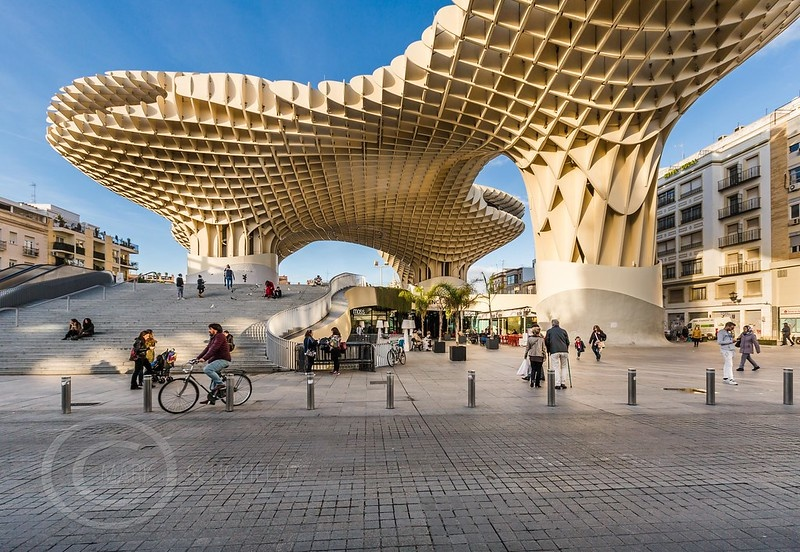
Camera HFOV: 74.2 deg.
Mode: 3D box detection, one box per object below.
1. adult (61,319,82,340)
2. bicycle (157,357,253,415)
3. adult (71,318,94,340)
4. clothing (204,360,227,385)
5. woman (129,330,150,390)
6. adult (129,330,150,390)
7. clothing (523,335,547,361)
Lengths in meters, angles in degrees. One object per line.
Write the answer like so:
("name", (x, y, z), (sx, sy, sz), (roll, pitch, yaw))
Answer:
("adult", (-13.822, 2.224, 22.484), (0.678, 0.838, 0.653), (0, 5, -11))
("bicycle", (-5.138, 2.912, 14.234), (3.064, 1.745, 1.234), (4, -12, -31))
("adult", (-13.664, 2.368, 22.872), (0.645, 0.969, 0.907), (-13, -18, 22))
("clothing", (-4.833, 2.560, 13.921), (0.621, 0.869, 0.599), (5, -7, -14))
("woman", (-7.927, 2.611, 16.197), (0.559, 1.727, 0.756), (-2, 6, -31))
("adult", (-7.928, 2.611, 16.200), (0.559, 1.727, 0.764), (-2, 6, -31))
("clothing", (4.059, 2.147, 15.810), (0.536, 0.746, 0.355), (1, 5, 8))
